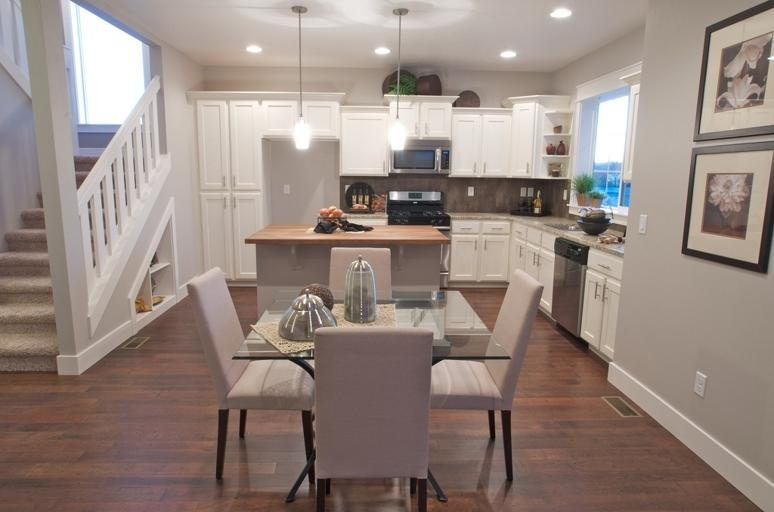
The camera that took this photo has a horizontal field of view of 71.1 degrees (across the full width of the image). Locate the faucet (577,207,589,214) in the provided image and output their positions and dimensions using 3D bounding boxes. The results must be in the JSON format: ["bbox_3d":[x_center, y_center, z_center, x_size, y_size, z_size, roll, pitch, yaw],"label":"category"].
[{"bbox_3d":[2.247,-0.523,6.188,0.152,0.069,0.213,3,11,29],"label":"faucet"}]

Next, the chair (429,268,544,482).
[{"bbox_3d":[0.593,0.885,4.033,0.970,1.316,0.858,2,5,19],"label":"chair"}]

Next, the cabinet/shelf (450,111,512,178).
[{"bbox_3d":[1.267,-1.555,7.302,0.867,0.902,0.450,0,7,-1],"label":"cabinet/shelf"}]

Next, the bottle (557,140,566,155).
[{"bbox_3d":[2.266,-1.419,7.037,0.118,0.179,0.089,4,10,12],"label":"bottle"}]

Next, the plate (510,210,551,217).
[{"bbox_3d":[2.007,-0.607,7.505,0.567,0.074,0.355,3,9,6],"label":"plate"}]

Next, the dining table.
[{"bbox_3d":[0.117,1.078,3.843,1.572,0.901,1.476,-1,10,-1],"label":"dining table"}]

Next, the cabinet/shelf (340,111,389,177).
[{"bbox_3d":[-0.302,-1.550,7.594,0.903,1.091,0.744,0,7,-3],"label":"cabinet/shelf"}]

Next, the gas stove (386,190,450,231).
[{"bbox_3d":[0.394,-0.531,7.498,0.832,0.745,0.523,-1,27,-8],"label":"gas stove"}]

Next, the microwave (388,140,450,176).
[{"bbox_3d":[0.473,-1.324,7.258,0.781,0.447,0.455,0,5,-2],"label":"microwave"}]

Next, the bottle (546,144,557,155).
[{"bbox_3d":[2.133,-1.386,7.040,0.133,0.152,0.132,8,15,33],"label":"bottle"}]

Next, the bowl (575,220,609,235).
[{"bbox_3d":[2.158,-0.305,5.661,0.292,0.177,0.180,6,10,24],"label":"bowl"}]

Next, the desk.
[{"bbox_3d":[-0.229,0.332,5.689,1.785,1.137,1.010,2,11,21],"label":"desk"}]
